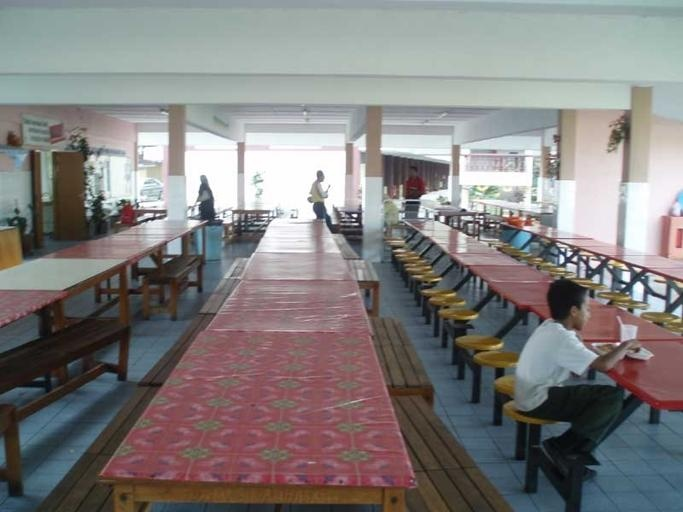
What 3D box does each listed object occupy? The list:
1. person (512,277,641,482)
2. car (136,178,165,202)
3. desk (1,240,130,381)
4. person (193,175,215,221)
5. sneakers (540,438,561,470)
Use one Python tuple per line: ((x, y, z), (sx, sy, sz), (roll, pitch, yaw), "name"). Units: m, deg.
((1.326, 0.711, 2.993), (0.466, 1.124, 0.556), (-12, 22, -44), "person")
((-9.295, -3.275, 25.433), (1.282, 0.748, 1.899), (-7, 19, -24), "car")
((-2.396, 0.502, 4.573), (0.803, 0.600, 1.514), (-1, 12, -7), "desk")
((-2.703, -1.182, 10.315), (0.321, 0.854, 1.198), (-1, 13, -15), "person")
((1.235, 1.153, 3.016), (0.076, 0.139, 0.169), (-15, -24, 12), "sneakers")
